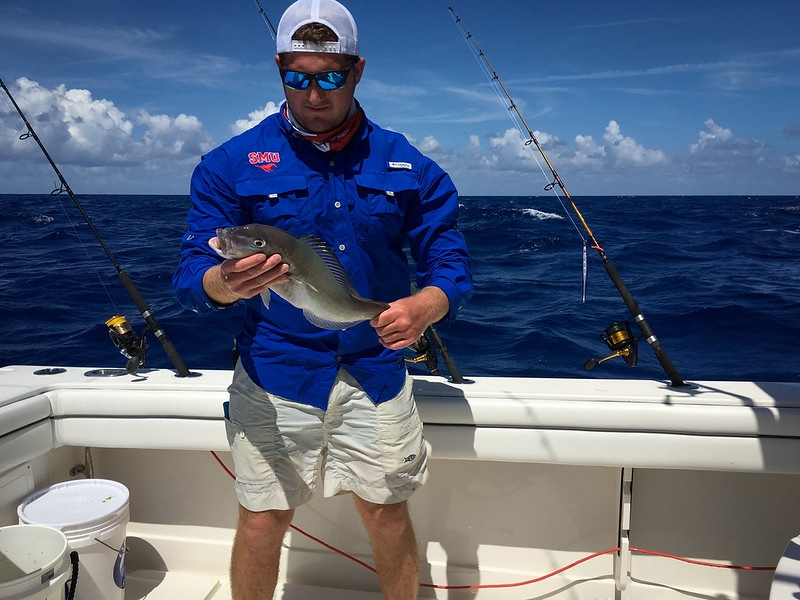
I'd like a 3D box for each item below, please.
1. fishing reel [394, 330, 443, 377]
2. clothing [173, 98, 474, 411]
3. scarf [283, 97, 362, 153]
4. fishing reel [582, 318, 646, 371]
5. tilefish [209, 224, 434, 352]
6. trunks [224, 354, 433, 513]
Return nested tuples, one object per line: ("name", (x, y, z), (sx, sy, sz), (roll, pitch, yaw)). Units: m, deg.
("fishing reel", (0.131, 0.284, 3.421), (0.206, 0.223, 0.129), (5, -8, 1))
("clothing", (-0.291, -0.215, 2.580), (1.369, 1.140, 0.739), (-1, 4, -6))
("scarf", (-0.300, -0.716, 2.581), (0.295, 0.199, 0.114), (-3, 16, -7))
("fishing reel", (1.823, 0.404, 5.355), (0.495, 0.504, 0.261), (17, 44, -44))
("tilefish", (-0.311, -0.083, 2.424), (0.718, 0.291, 0.308), (26, 4, -30))
("trunks", (-0.371, 0.513, 2.806), (0.969, 0.737, 0.454), (4, -11, -28))
